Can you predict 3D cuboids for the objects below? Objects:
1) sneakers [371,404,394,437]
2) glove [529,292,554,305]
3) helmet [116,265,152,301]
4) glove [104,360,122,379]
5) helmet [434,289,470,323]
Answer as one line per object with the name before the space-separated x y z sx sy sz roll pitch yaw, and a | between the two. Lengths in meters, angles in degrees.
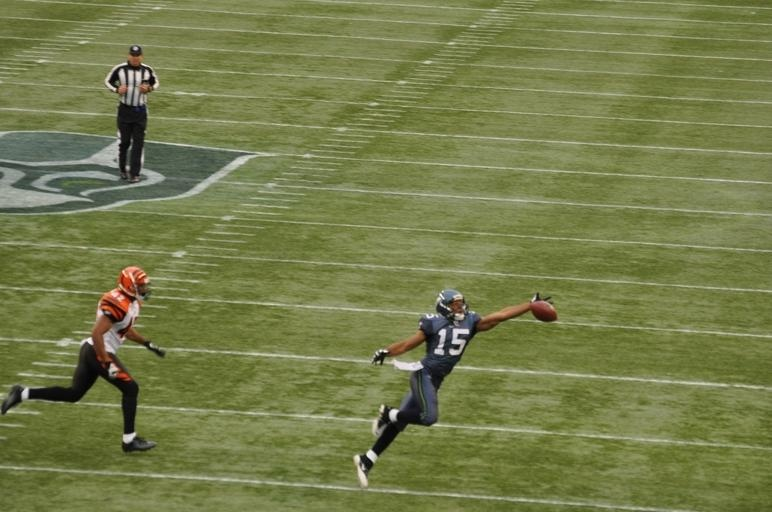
sneakers | 0.007 1.793 14.687 0.340 0.439 0.162 5 54 -3
glove | 1.820 0.499 15.853 0.338 0.077 0.272 17 -7 -43
helmet | -2.721 0.303 14.535 0.318 0.363 0.310 1 24 -6
glove | -2.914 1.224 14.394 0.143 0.183 0.075 1 28 -7
helmet | 0.714 0.522 14.492 0.337 0.326 0.309 5 23 2
